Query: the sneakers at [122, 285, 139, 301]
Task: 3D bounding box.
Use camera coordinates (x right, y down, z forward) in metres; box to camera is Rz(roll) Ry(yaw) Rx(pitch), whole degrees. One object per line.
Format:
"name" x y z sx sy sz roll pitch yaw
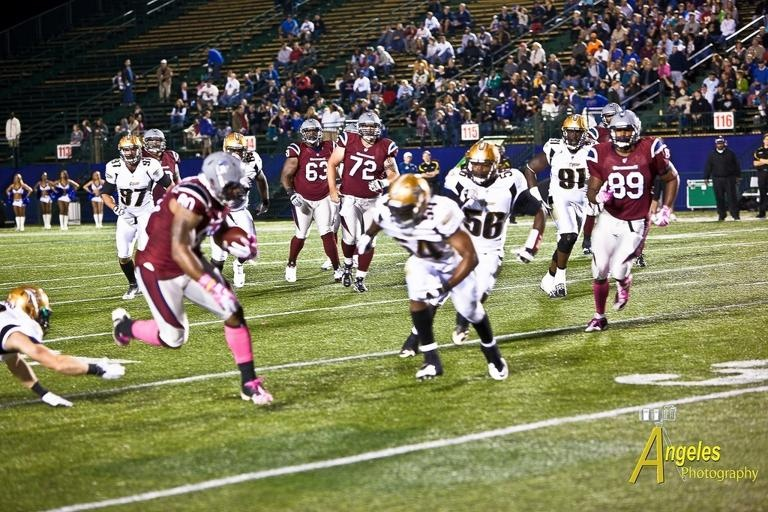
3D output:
"sneakers" -3.230 0.452 10.747 0.103 0.120 0.288 23 14 -4

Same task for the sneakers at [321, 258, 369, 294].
"sneakers" -0.510 0.261 11.098 0.148 0.203 0.448 -25 60 -37

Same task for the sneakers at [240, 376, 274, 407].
"sneakers" -1.004 1.050 6.616 0.122 0.151 0.346 -10 8 -43

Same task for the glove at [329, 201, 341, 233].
"glove" -0.682 -0.557 11.642 0.273 0.335 0.319 -4 18 -3

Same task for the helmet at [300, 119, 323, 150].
"helmet" -1.019 -1.719 11.748 0.276 0.378 0.394 -4 6 -6

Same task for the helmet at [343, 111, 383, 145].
"helmet" -0.243 -1.660 10.882 0.400 0.441 0.529 -5 7 -16

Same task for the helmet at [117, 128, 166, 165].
"helmet" -3.134 -1.419 10.859 0.478 0.382 0.618 2 -1 -11

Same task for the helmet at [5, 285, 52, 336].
"helmet" -2.758 0.425 6.530 0.303 0.383 0.236 -7 7 -30

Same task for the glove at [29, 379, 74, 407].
"glove" -2.589 1.116 6.768 0.455 0.118 0.145 20 -2 -13

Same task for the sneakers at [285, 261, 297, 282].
"sneakers" -1.285 0.217 11.478 0.118 0.252 0.182 -5 7 -15

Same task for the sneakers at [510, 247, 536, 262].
"sneakers" 1.831 -0.022 11.181 0.138 0.156 0.369 40 1 5

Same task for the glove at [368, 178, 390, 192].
"glove" -0.128 -0.901 10.619 0.289 0.143 0.414 11 11 33

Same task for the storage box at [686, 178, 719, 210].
"storage box" 7.494 -1.470 20.040 0.649 0.740 0.350 0 7 21

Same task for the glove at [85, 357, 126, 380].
"glove" -2.278 0.919 6.905 0.314 0.164 0.356 1 -7 18

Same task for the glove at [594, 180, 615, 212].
"glove" 2.116 -0.576 8.115 0.153 0.284 0.307 -1 7 15

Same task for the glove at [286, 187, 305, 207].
"glove" -1.232 -0.813 11.328 0.102 0.273 0.167 -26 -23 -33

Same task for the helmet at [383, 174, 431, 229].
"helmet" 0.207 -0.436 6.568 0.311 0.386 0.327 0 -13 19

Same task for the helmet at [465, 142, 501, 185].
"helmet" 0.942 -0.901 7.818 0.305 0.342 0.391 8 37 24

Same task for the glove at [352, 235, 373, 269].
"glove" -0.254 -0.064 9.443 0.150 0.423 0.184 26 11 17

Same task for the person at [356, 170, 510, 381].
"person" 0.453 0.175 6.809 1.015 1.698 0.718 -2 7 9

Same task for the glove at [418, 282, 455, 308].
"glove" 0.409 0.302 6.866 0.222 0.146 0.287 -44 -9 29
